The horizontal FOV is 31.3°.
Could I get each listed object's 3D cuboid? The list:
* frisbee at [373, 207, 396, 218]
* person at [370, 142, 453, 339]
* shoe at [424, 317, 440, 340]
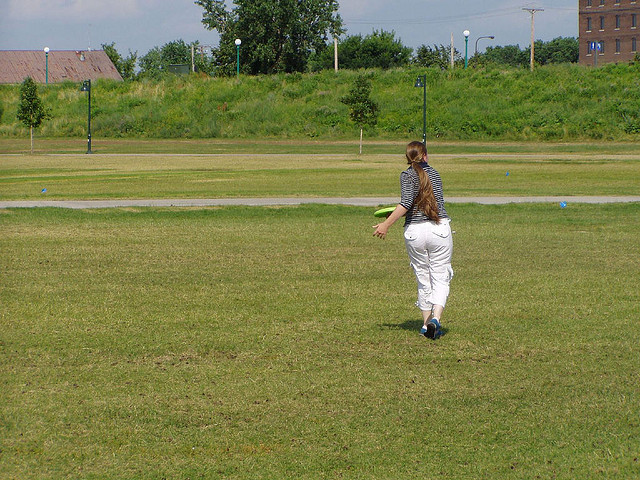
[{"bbox_3d":[1.238,-0.519,21.697,0.386,0.170,0.383,-2,8,3],"label":"frisbee"},{"bbox_3d":[1.904,0.060,21.540,1.112,3.665,0.616,-3,9,4],"label":"person"},{"bbox_3d":[2.099,1.688,21.538,0.253,0.437,0.167,-5,9,-13],"label":"shoe"}]
